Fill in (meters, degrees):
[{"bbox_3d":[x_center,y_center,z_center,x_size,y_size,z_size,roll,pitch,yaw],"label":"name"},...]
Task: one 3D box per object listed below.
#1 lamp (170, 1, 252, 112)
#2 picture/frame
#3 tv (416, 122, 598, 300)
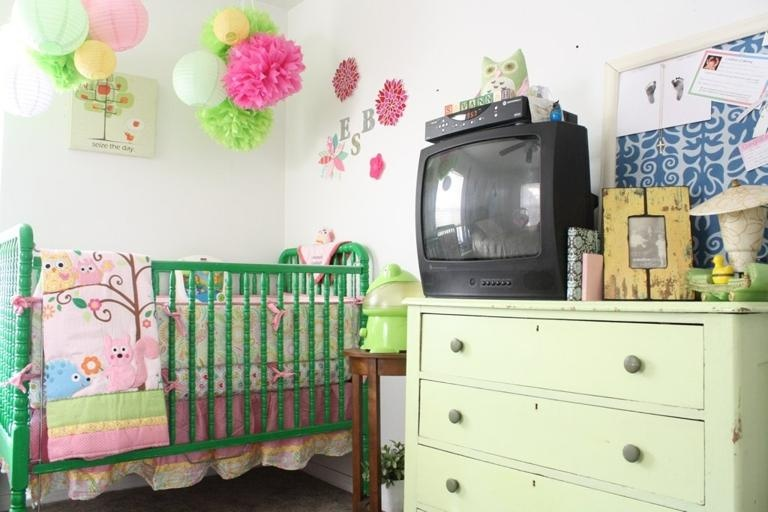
[{"bbox_3d":[-0.955,-1.017,3.140,0.326,0.619,0.279,22,-2,-27],"label":"lamp"},{"bbox_3d":[0.930,-0.031,2.009,0.386,0.574,0.057,1,-10,7],"label":"picture/frame"},{"bbox_3d":[0.433,-0.181,2.437,0.846,0.811,0.604,-2,-3,42],"label":"tv"}]
